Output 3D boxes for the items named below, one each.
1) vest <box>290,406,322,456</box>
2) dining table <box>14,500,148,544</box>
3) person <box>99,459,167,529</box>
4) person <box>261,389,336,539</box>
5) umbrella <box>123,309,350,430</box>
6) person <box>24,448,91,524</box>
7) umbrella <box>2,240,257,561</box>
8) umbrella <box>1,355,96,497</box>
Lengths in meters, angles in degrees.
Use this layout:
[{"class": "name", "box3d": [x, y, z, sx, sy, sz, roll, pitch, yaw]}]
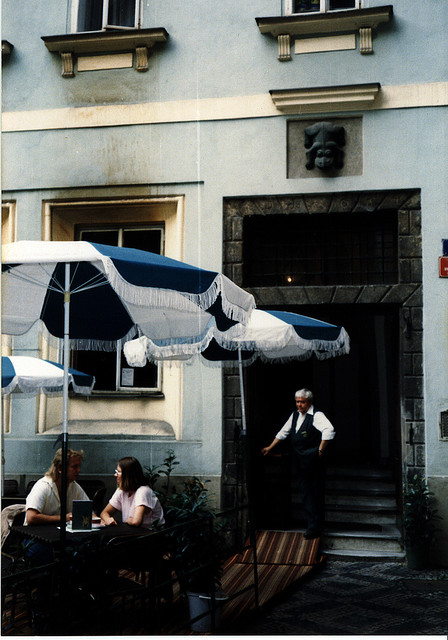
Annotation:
[{"class": "vest", "box3d": [0.875, 1.221, 11.473, 0.254, 0.564, 0.336, 3, 0, -40]}, {"class": "dining table", "box3d": [-1.129, 1.698, 8.643, 0.830, 0.290, 0.786, -1, -20, -32]}, {"class": "person", "box3d": [-0.796, 1.595, 9.093, 0.456, 0.834, 0.460, -5, 0, -5]}, {"class": "person", "box3d": [0.885, 1.610, 11.729, 0.641, 1.640, 1.307, 0, -6, 4]}, {"class": "umbrella", "box3d": [0.157, 0.623, 10.993, 2.813, 1.621, 3.221, -3, -2, -8]}, {"class": "person", "box3d": [-1.384, 1.556, 8.972, 0.536, 0.878, 0.454, 7, -10, -15]}, {"class": "umbrella", "box3d": [-0.883, 0.669, 8.807, 2.031, 2.460, 2.522, 1, -6, -12]}, {"class": "umbrella", "box3d": [-2.007, 1.171, 11.375, 1.210, 1.601, 1.269, -1, 2, -23]}]
